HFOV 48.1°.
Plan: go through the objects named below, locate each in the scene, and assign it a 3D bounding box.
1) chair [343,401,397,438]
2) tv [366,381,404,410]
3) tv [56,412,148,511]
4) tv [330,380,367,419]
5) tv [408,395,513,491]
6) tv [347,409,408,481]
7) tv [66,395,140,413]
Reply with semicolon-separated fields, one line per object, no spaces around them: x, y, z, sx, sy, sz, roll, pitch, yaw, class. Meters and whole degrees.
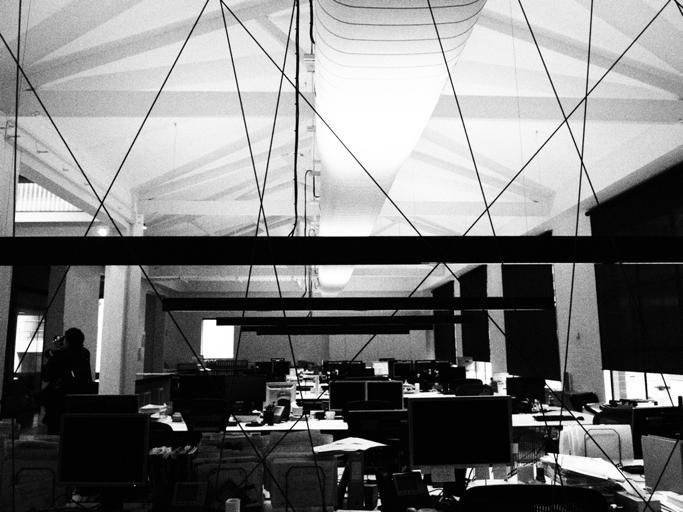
0.265;1.464;6.929;0.310;0.428;0.389;1;-20;-2;chair
0.472;1.508;8.559;0.488;0.362;0.270;-1;-10;7;tv
-1.804;1.503;5.843;0.895;0.662;0.301;1;-6;3;tv
0.074;1.597;8.564;0.496;0.374;0.067;0;-9;1;tv
0.933;1.471;6.116;0.804;0.703;0.085;-1;-11;-1;tv
0.355;1.654;6.693;0.528;0.701;0.524;-1;-23;1;tv
-2.237;1.370;7.148;0.636;0.151;0.178;4;-10;-22;tv
